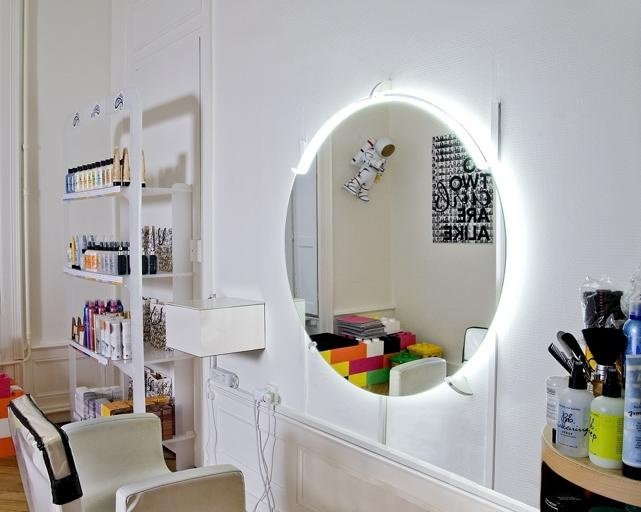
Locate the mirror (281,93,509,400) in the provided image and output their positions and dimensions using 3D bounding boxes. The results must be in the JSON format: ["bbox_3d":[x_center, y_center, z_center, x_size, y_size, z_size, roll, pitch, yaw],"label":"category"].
[{"bbox_3d":[0.341,-0.043,2.182,0.050,1.515,1.182,-3,7,-39],"label":"mirror"}]

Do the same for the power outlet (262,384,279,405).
[{"bbox_3d":[-0.247,0.735,2.799,0.081,0.098,0.088,-5,8,-39],"label":"power outlet"}]

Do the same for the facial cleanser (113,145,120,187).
[{"bbox_3d":[-1.179,-0.523,3.057,0.047,0.215,0.090,0,-1,-24],"label":"facial cleanser"}]

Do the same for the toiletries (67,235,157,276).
[{"bbox_3d":[-1.420,-0.007,3.376,0.214,0.257,1.002,1,-1,-35],"label":"toiletries"}]

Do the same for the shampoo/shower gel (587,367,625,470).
[{"bbox_3d":[0.705,0.398,1.288,0.076,0.235,0.062,0,-1,23],"label":"shampoo/shower gel"}]

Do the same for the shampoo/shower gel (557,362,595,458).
[{"bbox_3d":[0.660,0.395,1.352,0.078,0.242,0.083,3,3,25],"label":"shampoo/shower gel"}]
